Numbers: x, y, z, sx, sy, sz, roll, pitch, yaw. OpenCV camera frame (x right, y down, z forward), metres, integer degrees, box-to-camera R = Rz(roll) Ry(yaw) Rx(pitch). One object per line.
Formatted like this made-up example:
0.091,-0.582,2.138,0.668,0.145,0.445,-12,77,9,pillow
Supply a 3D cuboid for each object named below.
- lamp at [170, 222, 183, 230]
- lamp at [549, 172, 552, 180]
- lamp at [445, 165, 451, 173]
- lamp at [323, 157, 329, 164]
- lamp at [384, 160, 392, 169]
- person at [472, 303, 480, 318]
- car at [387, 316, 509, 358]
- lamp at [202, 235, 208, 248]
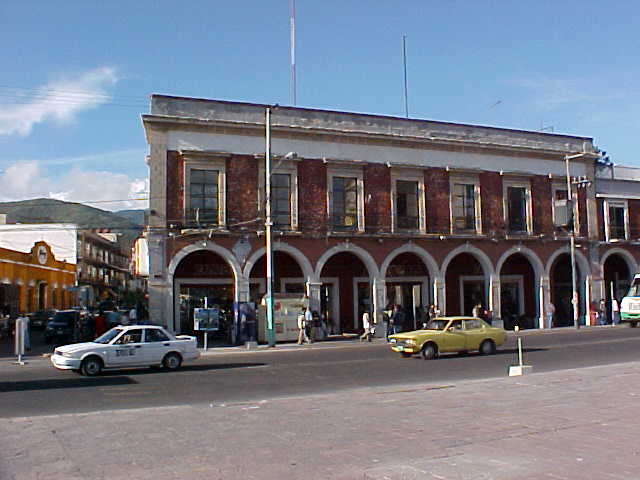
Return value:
-7.177,-0.695,37.182,0.640,0.347,0.114,0,-8,-9,lamp
14.139,-3.932,45.868,0.257,0.263,0.065,-1,-5,44,lamp
7.295,-4.051,42.733,0.248,0.519,0.265,2,0,13,lamp
0.267,-4.223,39.969,0.326,0.345,0.234,1,-6,-28,lamp
3.770,-4.153,41.275,0.381,0.432,0.230,-2,-8,5,lamp
8.822,3.978,42.232,0.326,0.766,1.760,-3,-9,14,person
5.092,3.861,29.402,4.305,1.622,1.050,2,-9,-22,car
-5.786,0.102,37.531,0.248,0.553,0.137,0,-8,-10,lamp
